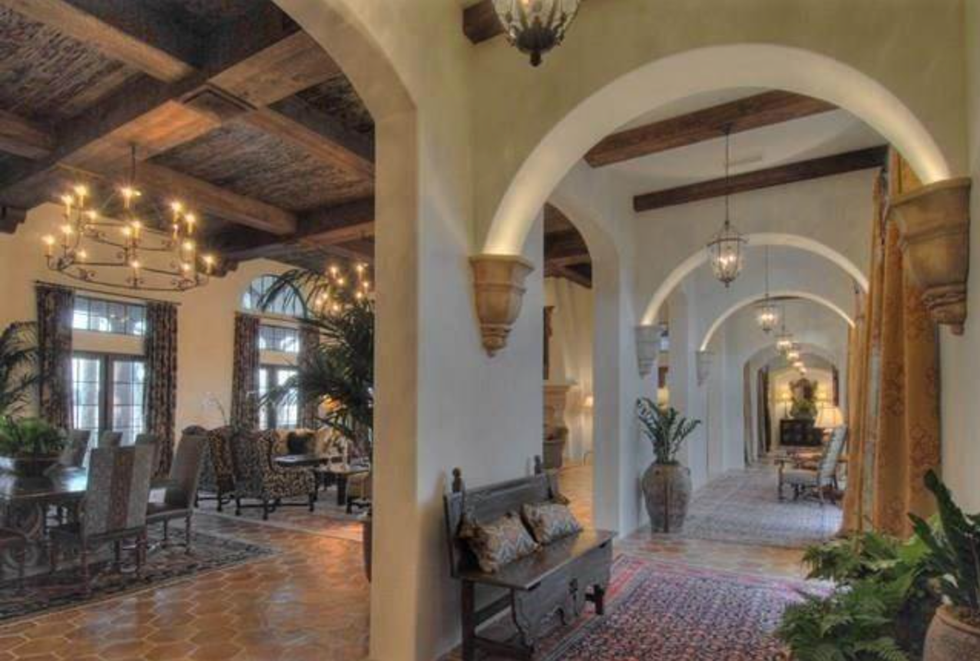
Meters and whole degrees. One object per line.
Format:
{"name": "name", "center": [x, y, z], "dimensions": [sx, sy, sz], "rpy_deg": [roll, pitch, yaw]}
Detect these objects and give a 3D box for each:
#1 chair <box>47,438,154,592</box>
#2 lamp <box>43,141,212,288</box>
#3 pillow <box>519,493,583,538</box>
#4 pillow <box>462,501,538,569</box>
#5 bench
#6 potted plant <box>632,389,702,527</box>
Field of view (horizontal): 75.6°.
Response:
{"name": "chair", "center": [-4.042, 1.836, 6.552], "dimensions": [0.843, 1.366, 0.719], "rpy_deg": [0, -2, 39]}
{"name": "lamp", "center": [-5.155, -1.641, 8.842], "dimensions": [1.273, 1.385, 1.313], "rpy_deg": [-1, -21, 1]}
{"name": "pillow", "center": [0.526, 1.656, 5.617], "dimensions": [0.150, 0.314, 0.506], "rpy_deg": [-34, -30, 31]}
{"name": "pillow", "center": [0.048, 1.671, 5.060], "dimensions": [0.181, 0.389, 0.539], "rpy_deg": [-44, -26, 25]}
{"name": "bench", "center": [0.300, 1.963, 5.373], "dimensions": [0.680, 1.286, 1.550], "rpy_deg": [-5, -6, 35]}
{"name": "potted plant", "center": [2.274, 1.735, 8.414], "dimensions": [0.725, 1.409, 0.733], "rpy_deg": [0, 0, 17]}
